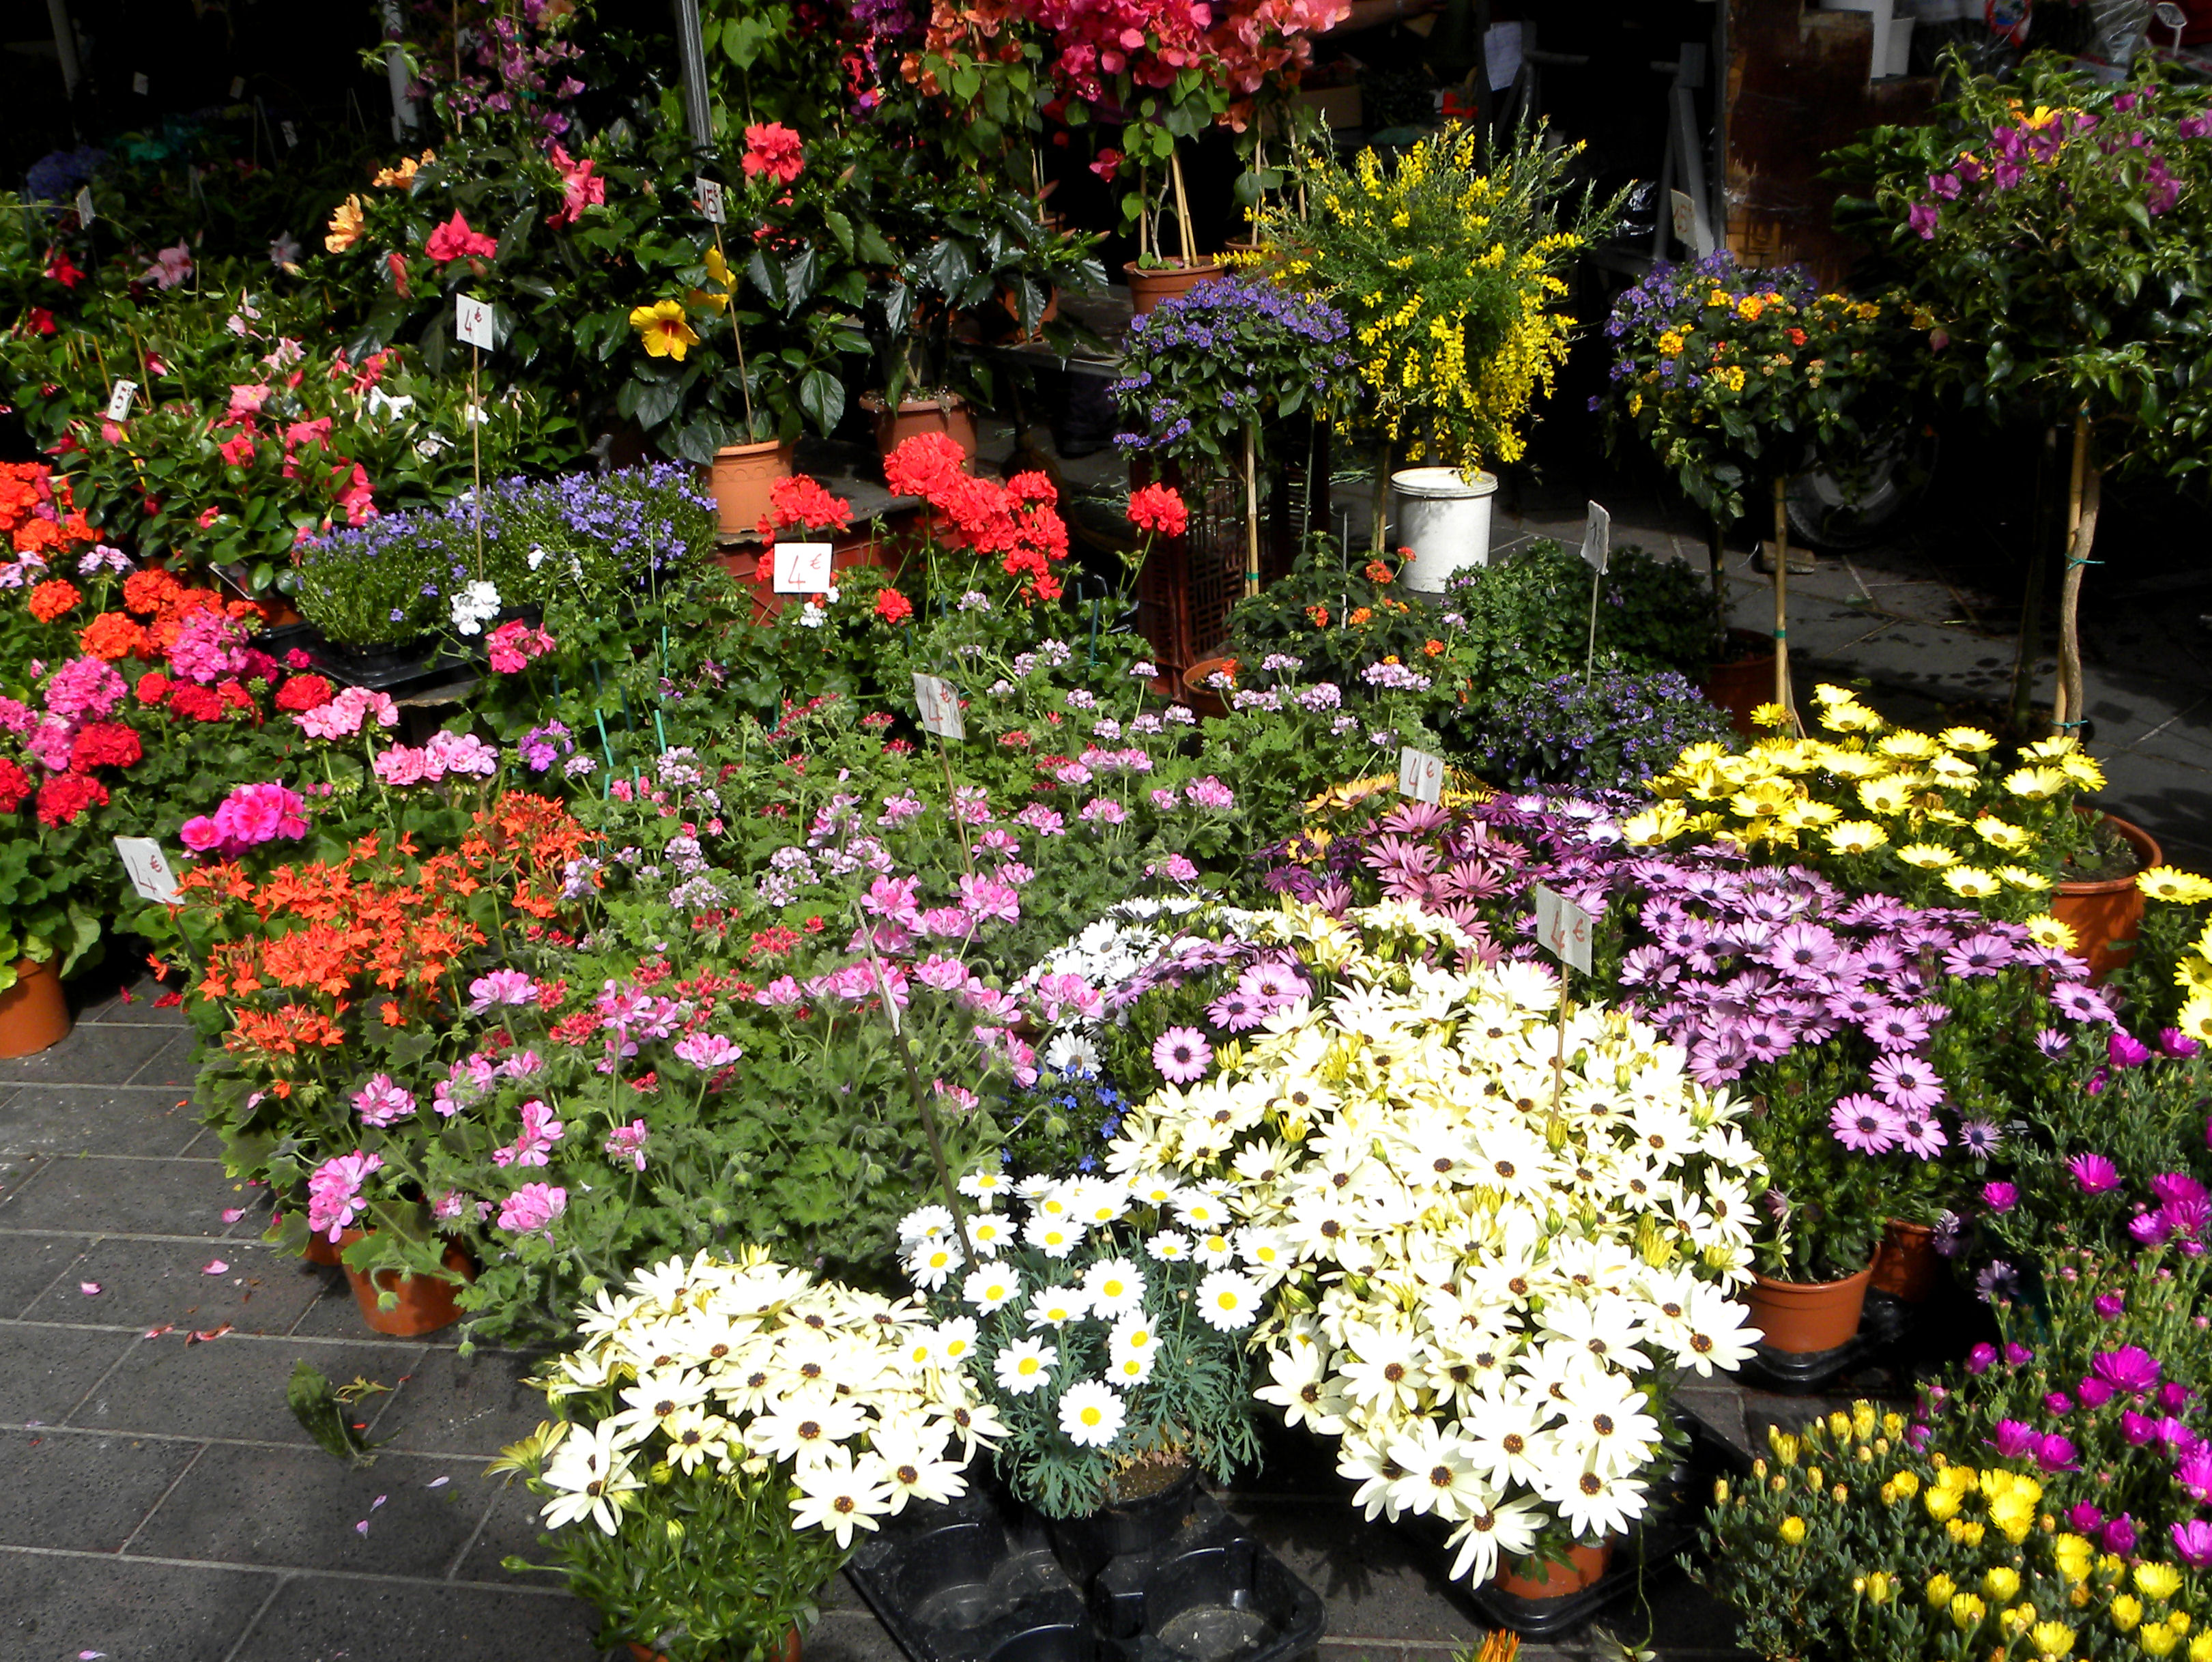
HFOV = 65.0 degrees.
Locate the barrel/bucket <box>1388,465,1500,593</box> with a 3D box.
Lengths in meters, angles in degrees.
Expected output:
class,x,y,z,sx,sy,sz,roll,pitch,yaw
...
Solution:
class,x,y,z,sx,sy,sz,roll,pitch,yaw
barrel/bucket,1.165,-1.112,6.145,0.348,0.466,0.443,11,31,20
